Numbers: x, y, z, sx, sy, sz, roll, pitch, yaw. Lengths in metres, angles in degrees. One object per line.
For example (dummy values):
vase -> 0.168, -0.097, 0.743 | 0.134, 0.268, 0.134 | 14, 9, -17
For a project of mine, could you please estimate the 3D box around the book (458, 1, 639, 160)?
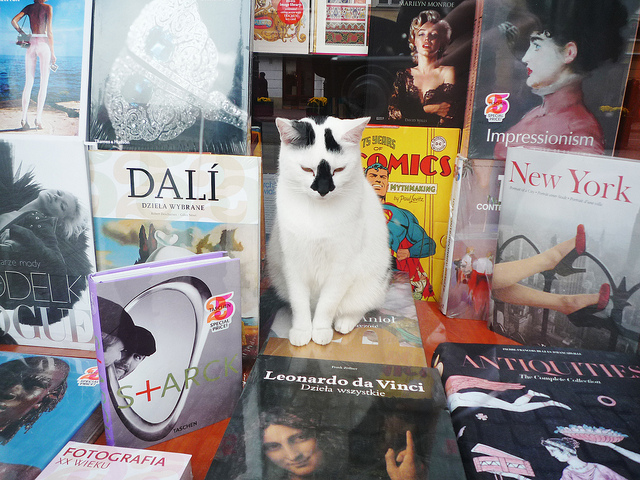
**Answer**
book -> 0.543, -0.365, 1.178 | 0.345, 0.385, 0.343 | -1, 8, 0

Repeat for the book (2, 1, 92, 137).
book -> -0.595, -0.386, 0.964 | 0.240, 0.357, 0.016 | 4, 4, -3

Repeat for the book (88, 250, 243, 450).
book -> -0.291, 0.212, 0.852 | 0.262, 0.368, 0.066 | -6, 21, -27
